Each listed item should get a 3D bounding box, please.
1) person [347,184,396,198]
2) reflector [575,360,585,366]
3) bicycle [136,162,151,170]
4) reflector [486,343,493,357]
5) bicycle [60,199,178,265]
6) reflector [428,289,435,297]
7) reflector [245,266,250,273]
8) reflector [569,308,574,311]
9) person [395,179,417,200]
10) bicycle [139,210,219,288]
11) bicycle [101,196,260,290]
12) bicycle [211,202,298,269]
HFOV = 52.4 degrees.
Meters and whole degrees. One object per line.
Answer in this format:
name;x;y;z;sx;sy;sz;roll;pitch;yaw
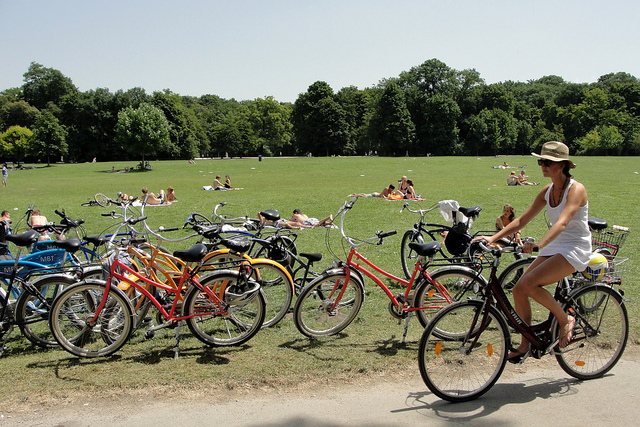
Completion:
person;2.508;-0.852;28.081;1.538;0.443;1.183;2;4;37
reflector;4.295;2.471;10.762;0.100;0.083;0.023;4;-5;5
bicycle;-16.786;-4.369;60.930;1.495;0.845;0.745;-2;17;-5
reflector;2.740;2.219;10.555;0.097;0.237;0.125;1;6;19
bicycle;-4.072;0.423;12.760;2.285;1.280;1.316;2;7;-6
reflector;2.005;1.443;11.788;0.099;0.131;0.033;27;12;-25
reflector;-1.362;1.028;11.958;0.047;0.131;0.137;3;-4;12
reflector;4.102;1.567;10.647;0.037;0.013;0.055;-4;15;-18
person;3.663;-0.897;27.468;0.761;0.944;1.138;3;-1;-17
bicycle;-2.998;0.674;12.381;2.039;1.214;1.282;5;7;11
bicycle;-2.429;0.628;12.369;2.412;1.343;1.466;5;-3;-13
bicycle;-1.192;0.520;13.368;2.204;1.250;1.298;3;1;-33
